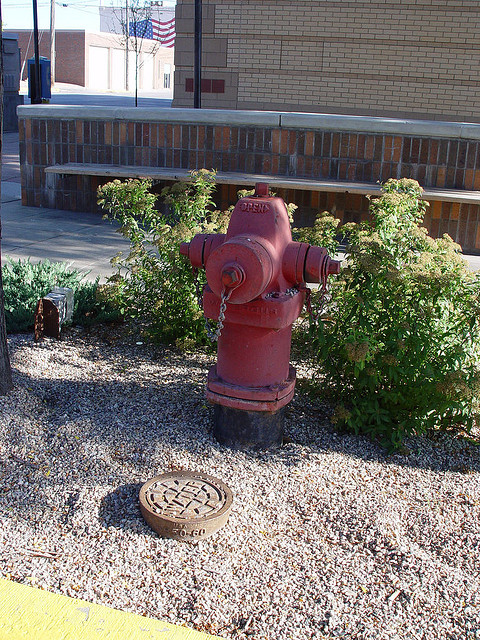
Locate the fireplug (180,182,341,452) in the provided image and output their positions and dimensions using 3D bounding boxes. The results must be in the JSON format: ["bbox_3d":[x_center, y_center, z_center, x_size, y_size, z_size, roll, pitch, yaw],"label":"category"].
[{"bbox_3d":[0.069,0.036,2.690,0.645,1.374,0.584,-1,15,-18],"label":"fireplug"}]
